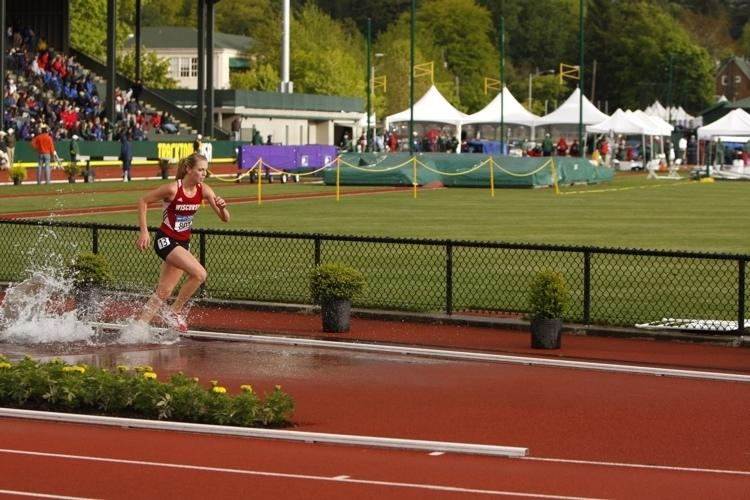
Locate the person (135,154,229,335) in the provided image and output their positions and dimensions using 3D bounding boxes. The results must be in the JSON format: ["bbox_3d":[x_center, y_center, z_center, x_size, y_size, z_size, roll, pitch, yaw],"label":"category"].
[{"bbox_3d":[-2.934,-0.116,18.169,1.255,2.726,0.861,0,7,-5],"label":"person"}]

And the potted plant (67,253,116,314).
[{"bbox_3d":[-4.662,0.509,19.949,0.780,1.073,0.869,-2,8,-19],"label":"potted plant"}]

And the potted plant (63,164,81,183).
[{"bbox_3d":[-11.764,-3.055,46.785,0.694,0.933,0.679,0,1,-8],"label":"potted plant"}]

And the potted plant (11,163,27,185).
[{"bbox_3d":[-13.069,-2.817,44.179,0.684,0.906,0.694,1,1,-5],"label":"potted plant"}]

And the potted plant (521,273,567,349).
[{"bbox_3d":[2.596,0.842,18.334,0.610,1.158,0.636,2,-2,35],"label":"potted plant"}]

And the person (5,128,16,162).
[{"bbox_3d":[-14.505,-4.173,47.903,0.373,1.327,2.433,-2,9,-16],"label":"person"}]

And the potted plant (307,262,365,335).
[{"bbox_3d":[-0.644,0.689,19.311,0.842,1.141,1.037,7,-9,-33],"label":"potted plant"}]
